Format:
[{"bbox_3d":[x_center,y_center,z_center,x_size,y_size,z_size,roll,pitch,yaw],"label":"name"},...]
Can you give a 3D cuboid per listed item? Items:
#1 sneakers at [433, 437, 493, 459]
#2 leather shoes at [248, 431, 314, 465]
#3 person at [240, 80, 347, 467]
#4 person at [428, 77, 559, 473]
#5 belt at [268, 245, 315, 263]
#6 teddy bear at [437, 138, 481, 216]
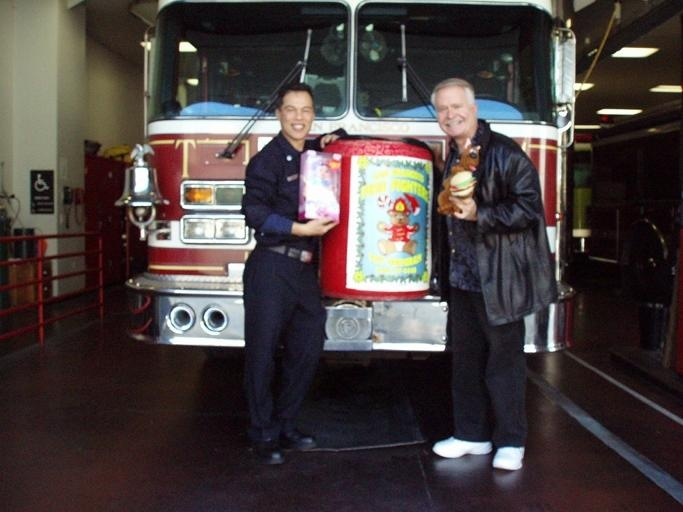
[{"bbox_3d":[0.900,1.381,4.182,0.394,0.173,0.158,2,5,-4],"label":"sneakers"},{"bbox_3d":[-0.412,1.348,4.125,0.510,0.202,0.174,-5,11,-40],"label":"leather shoes"},{"bbox_3d":[-0.389,0.120,4.040,0.638,2.648,0.576,-1,6,-18],"label":"person"},{"bbox_3d":[1.044,0.150,3.920,0.833,2.681,0.662,3,6,21],"label":"person"},{"bbox_3d":[-0.357,-0.015,3.974,0.294,0.120,0.062,-2,6,-21],"label":"belt"},{"bbox_3d":[0.767,-0.510,3.679,0.253,0.475,0.557,2,6,14],"label":"teddy bear"}]
